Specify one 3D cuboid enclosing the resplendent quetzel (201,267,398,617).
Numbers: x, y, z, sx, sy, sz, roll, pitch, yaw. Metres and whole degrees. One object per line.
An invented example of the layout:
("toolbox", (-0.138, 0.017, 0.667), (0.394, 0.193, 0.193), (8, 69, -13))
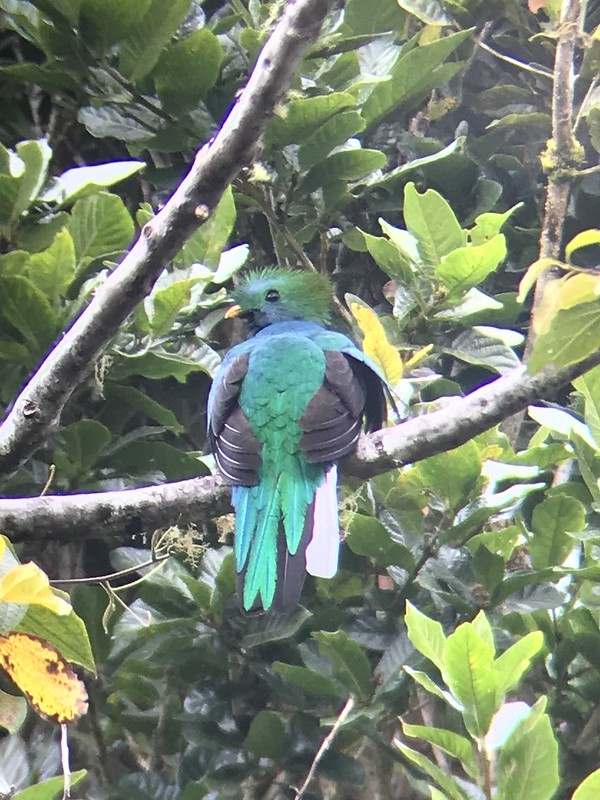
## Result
("resplendent quetzel", (0.005, 0.076, 4.673), (0.650, 0.781, 1.353), (-8, 23, 7))
